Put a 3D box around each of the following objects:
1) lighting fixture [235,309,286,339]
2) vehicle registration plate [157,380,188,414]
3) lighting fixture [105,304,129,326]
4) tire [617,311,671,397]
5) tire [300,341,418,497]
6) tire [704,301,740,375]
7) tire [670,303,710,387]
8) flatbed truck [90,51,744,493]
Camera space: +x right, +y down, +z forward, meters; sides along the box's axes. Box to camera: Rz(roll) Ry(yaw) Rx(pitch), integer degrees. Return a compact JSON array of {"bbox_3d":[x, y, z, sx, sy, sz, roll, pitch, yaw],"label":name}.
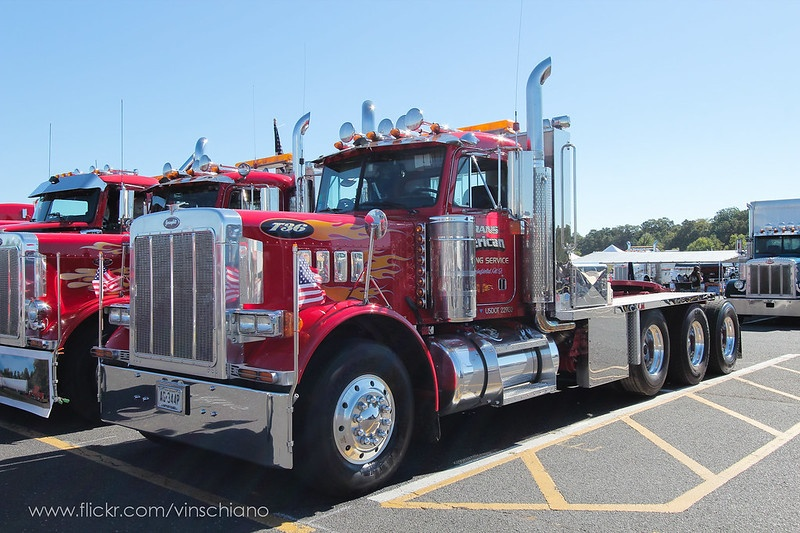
[{"bbox_3d":[-1.267,0.509,5.329,0.478,0.241,0.089,1,4,19],"label":"lighting fixture"},{"bbox_3d":[-2.183,1.239,5.671,0.387,0.293,0.063,3,3,28],"label":"vehicle registration plate"},{"bbox_3d":[-2.915,0.502,6.200,0.258,0.213,0.132,0,-2,10],"label":"lighting fixture"},{"bbox_3d":[3.612,1.304,8.907,1.250,1.311,0.444,-5,5,-39],"label":"tire"},{"bbox_3d":[-0.437,1.466,5.814,0.549,1.376,1.386,-3,-11,41],"label":"tire"},{"bbox_3d":[5.658,1.274,10.490,0.418,1.210,1.218,-10,-5,41],"label":"tire"},{"bbox_3d":[4.733,1.300,9.775,1.297,1.291,0.443,-5,5,-42],"label":"tire"},{"bbox_3d":[1.592,-0.327,9.560,3.753,4.400,10.880,4,4,45],"label":"flatbed truck"}]
